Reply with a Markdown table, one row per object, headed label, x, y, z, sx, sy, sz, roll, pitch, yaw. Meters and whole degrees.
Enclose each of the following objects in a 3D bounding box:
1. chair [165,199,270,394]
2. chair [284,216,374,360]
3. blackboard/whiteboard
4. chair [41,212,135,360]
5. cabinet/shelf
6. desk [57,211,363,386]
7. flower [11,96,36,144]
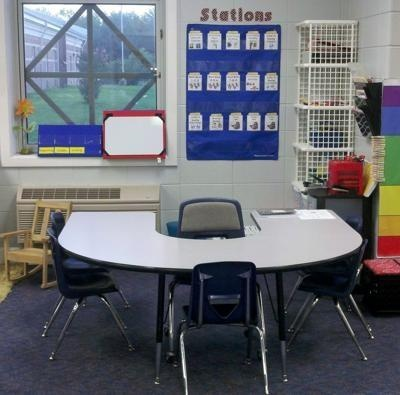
| label | x | y | z | sx | sy | sz | roll | pitch | yaw |
| --- | --- | --- | --- | --- | --- | --- | --- | --- | --- |
| chair | 0.127 | 0.642 | 2.754 | 0.694 | 1.089 | 0.917 | -3 | 14 | -6 |
| chair | 0.931 | 0.684 | 3.536 | 0.826 | 1.217 | 0.843 | 0 | 13 | 7 |
| blackboard/whiteboard | -0.813 | -0.740 | 5.275 | 0.645 | 0.629 | 0.163 | -2 | -1 | 0 |
| chair | -0.833 | 0.630 | 3.536 | 0.836 | 1.268 | 0.958 | -3 | 13 | -11 |
| cabinet/shelf | 1.423 | -1.026 | 4.877 | 0.681 | 1.900 | 0.681 | 2 | 14 | 12 |
| desk | 0.159 | 0.697 | 2.937 | 0.995 | 0.692 | 1.647 | 5 | -1 | -8 |
| flower | -2.171 | -0.924 | 5.294 | 0.248 | 0.599 | 0.337 | -6 | 14 | -20 |
